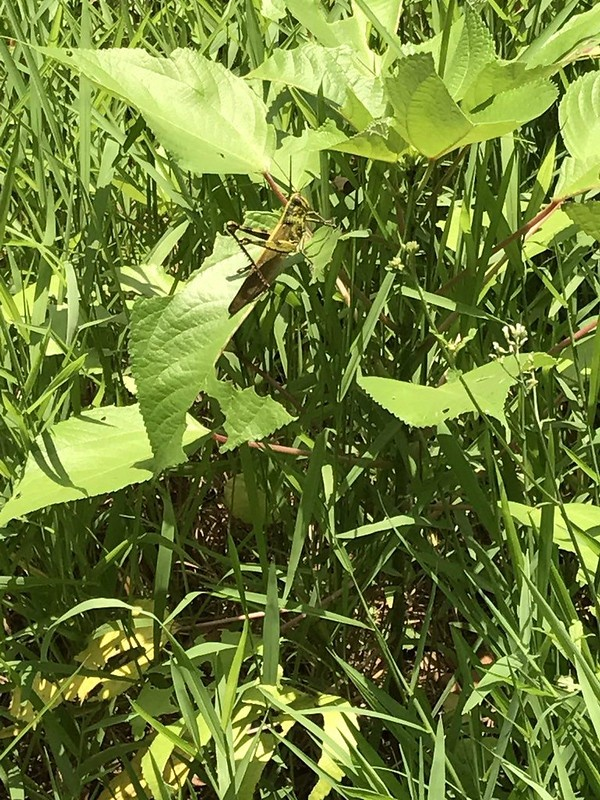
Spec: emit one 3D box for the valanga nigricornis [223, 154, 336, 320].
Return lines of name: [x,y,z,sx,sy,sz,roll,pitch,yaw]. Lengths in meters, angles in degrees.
valanga nigricornis: [-0.022,-0.179,0.809,0.095,0.097,0.177,40,77,-21]
